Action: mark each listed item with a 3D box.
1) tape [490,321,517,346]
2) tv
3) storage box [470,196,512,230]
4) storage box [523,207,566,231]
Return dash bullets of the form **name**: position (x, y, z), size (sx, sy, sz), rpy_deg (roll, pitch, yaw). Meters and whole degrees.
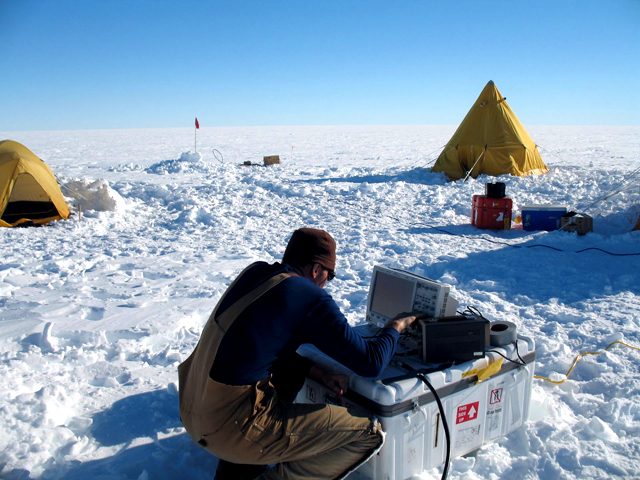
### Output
- **tape**: position (1.341, 0.686, 3.506), size (0.186, 0.086, 0.182), rpy_deg (2, 15, 24)
- **tv**: position (0.732, 0.388, 3.622), size (0.498, 0.453, 0.697), rpy_deg (-1, 8, -39)
- **storage box**: position (3.318, -0.576, 9.401), size (0.736, 0.572, 0.700), rpy_deg (1, 6, 2)
- **storage box**: position (4.149, -0.405, 8.928), size (0.824, 0.473, 0.427), rpy_deg (1, 4, 14)
